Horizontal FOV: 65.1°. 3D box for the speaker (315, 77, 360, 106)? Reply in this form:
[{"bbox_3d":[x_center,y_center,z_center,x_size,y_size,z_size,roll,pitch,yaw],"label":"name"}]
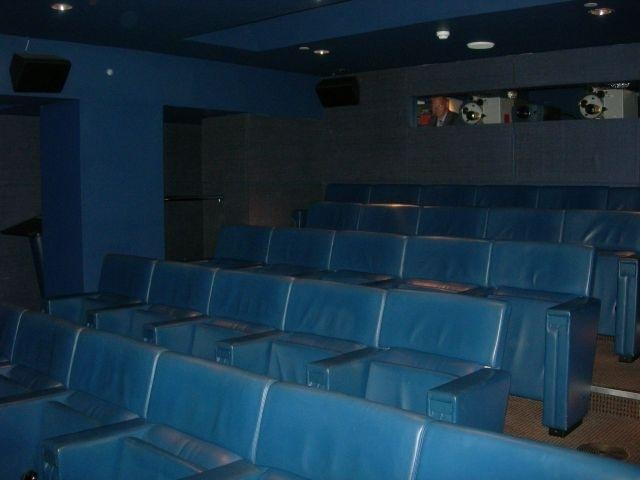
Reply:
[{"bbox_3d":[0.322,-1.932,6.532,0.533,0.363,0.407,3,17,30],"label":"speaker"}]

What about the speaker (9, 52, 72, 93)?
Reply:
[{"bbox_3d":[-2.902,-1.736,5.158,0.272,0.331,0.500,38,27,14],"label":"speaker"}]

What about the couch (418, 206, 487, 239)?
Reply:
[{"bbox_3d":[1.326,-0.191,5.084,0.179,0.279,0.728,-13,13,-42],"label":"couch"}]

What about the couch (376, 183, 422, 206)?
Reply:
[{"bbox_3d":[1.121,-0.681,7.377,0.752,0.276,0.188,5,13,42],"label":"couch"}]
